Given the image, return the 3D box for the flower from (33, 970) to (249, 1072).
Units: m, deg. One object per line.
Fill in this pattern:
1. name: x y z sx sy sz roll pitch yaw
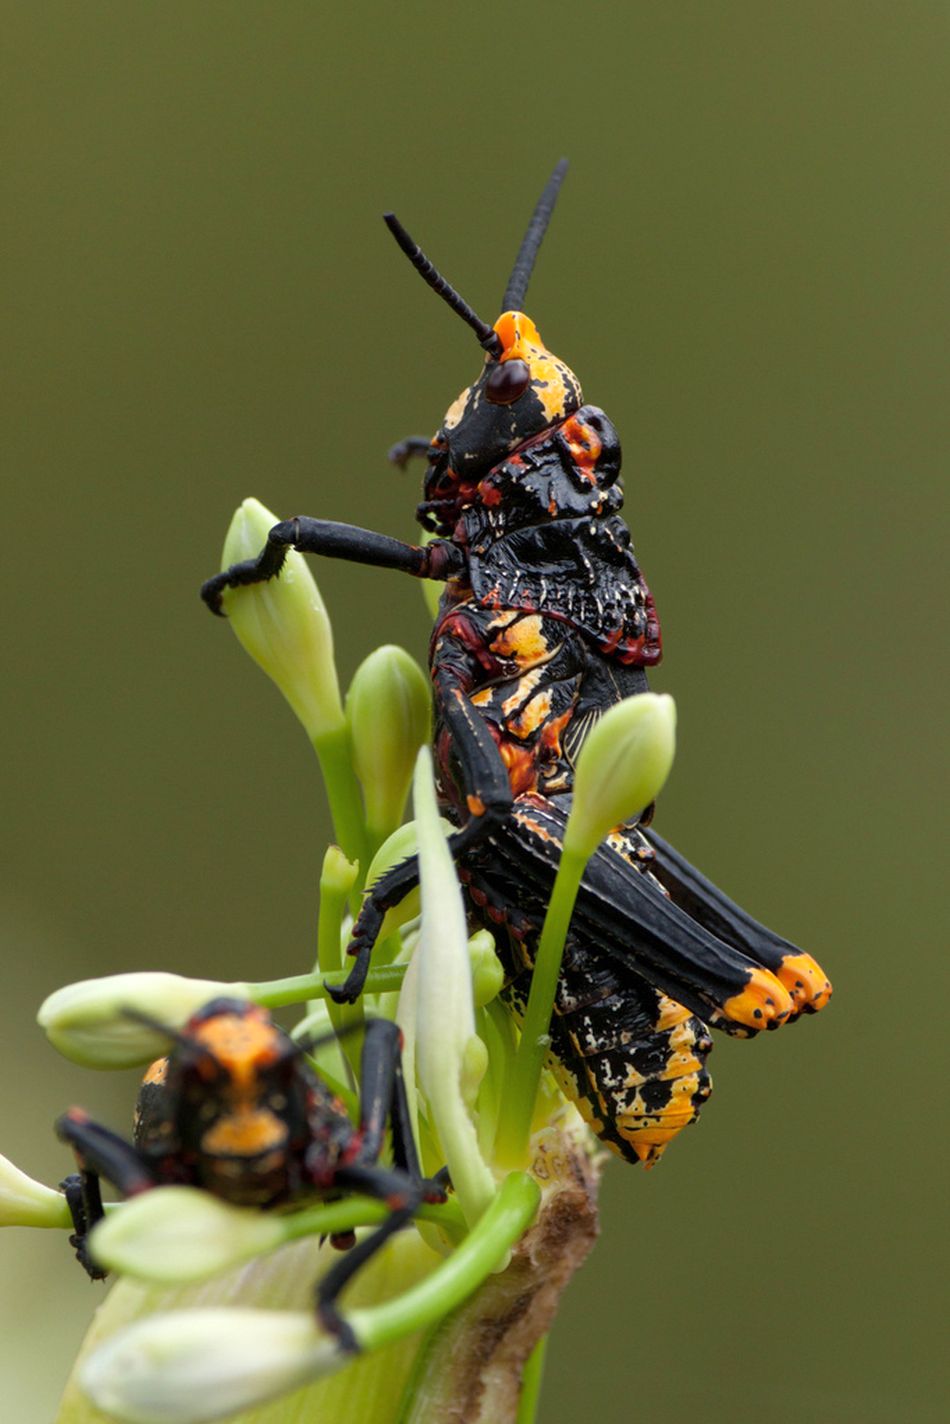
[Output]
1. flower: -0.306 0.272 1.573 0.190 0.065 0.100 0 27 -12

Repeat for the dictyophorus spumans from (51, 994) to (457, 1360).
1. dictyophorus spumans: -0.185 0.325 1.360 0.375 0.194 0.466 0 -7 -6
